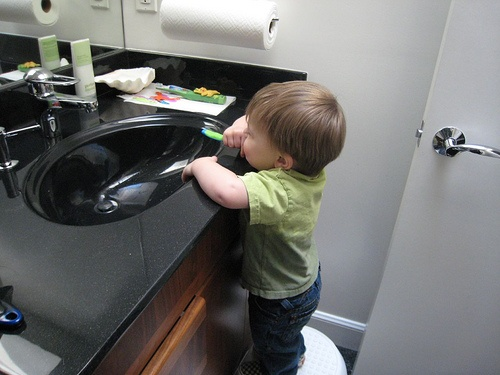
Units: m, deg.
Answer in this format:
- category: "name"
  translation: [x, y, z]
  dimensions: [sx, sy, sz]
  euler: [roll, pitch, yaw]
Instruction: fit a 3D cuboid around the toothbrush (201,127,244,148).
- category: "toothbrush"
  translation: [-0.071, -0.150, 0.970]
  dimensions: [0.127, 0.053, 0.039]
  euler: [15, 64, 38]
